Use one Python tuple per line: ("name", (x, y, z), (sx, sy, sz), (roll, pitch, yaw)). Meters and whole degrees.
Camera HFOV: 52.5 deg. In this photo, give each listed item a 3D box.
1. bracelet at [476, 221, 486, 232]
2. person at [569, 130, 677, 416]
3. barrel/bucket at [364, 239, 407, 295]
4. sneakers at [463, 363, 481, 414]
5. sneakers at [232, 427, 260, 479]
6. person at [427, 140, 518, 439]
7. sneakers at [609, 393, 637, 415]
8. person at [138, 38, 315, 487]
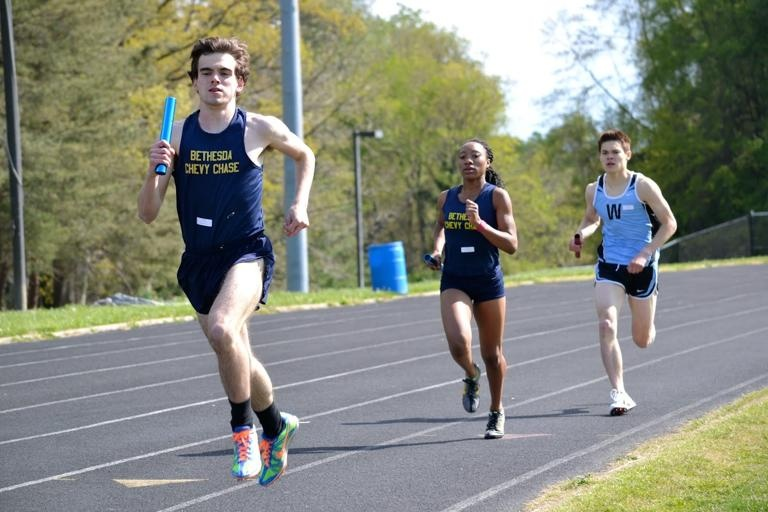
("bracelet", (0.990, -0.307, 7.960), (0.066, 0.099, 0.089), (-24, -19, 9))
("person", (2.794, 0.168, 9.034), (0.999, 3.408, 0.823), (-4, 0, 14))
("barrel/bucket", (0.168, 0.322, 23.300), (1.254, 2.188, 1.279), (-6, 1, 0))
("sneakers", (0.977, 1.498, 8.674), (0.162, 0.580, 0.227), (0, 3, 10))
("sneakers", (-1.178, 1.686, 6.686), (0.231, 0.428, 0.139), (-4, 0, -19))
("person", (0.978, 0.353, 8.368), (0.942, 3.173, 0.919), (-4, 0, 15))
("sneakers", (2.755, 1.680, 9.065), (0.328, 0.300, 0.281), (-5, 0, 4))
("person", (-1.331, -0.024, 6.813), (1.449, 3.687, 0.701), (-4, 0, -17))
